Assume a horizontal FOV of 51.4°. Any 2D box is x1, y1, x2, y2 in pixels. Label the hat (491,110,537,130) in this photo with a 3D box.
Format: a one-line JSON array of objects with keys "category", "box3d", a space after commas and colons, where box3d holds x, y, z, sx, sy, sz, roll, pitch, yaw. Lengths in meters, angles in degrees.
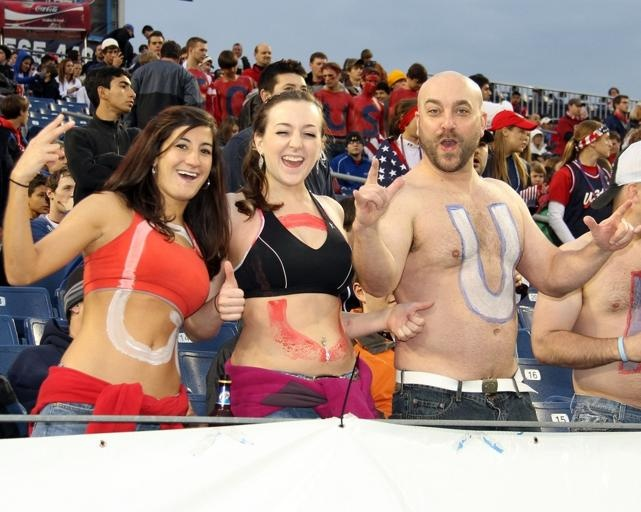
[{"category": "hat", "box3d": [1.961, -1.384, 6.777, 0.342, 0.165, 0.234, 3, 7, 4]}]
